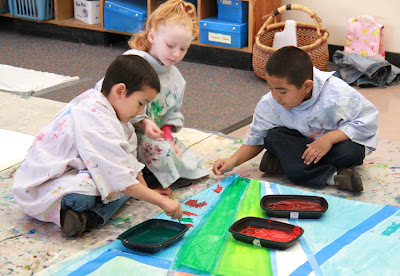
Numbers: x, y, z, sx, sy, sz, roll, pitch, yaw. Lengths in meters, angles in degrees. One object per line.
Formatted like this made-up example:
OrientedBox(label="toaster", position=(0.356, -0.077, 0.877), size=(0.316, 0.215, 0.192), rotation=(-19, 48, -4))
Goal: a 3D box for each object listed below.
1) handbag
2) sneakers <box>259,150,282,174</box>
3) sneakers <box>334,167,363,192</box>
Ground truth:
OrientedBox(label="handbag", position=(1.377, -0.833, 2.580), size=(0.375, 0.328, 0.145), rotation=(20, 28, 31))
OrientedBox(label="sneakers", position=(0.310, 0.115, 1.460), size=(0.119, 0.098, 0.099), rotation=(5, 22, 1))
OrientedBox(label="sneakers", position=(0.602, 0.173, 1.290), size=(0.071, 0.053, 0.155), rotation=(-3, 5, 0))
